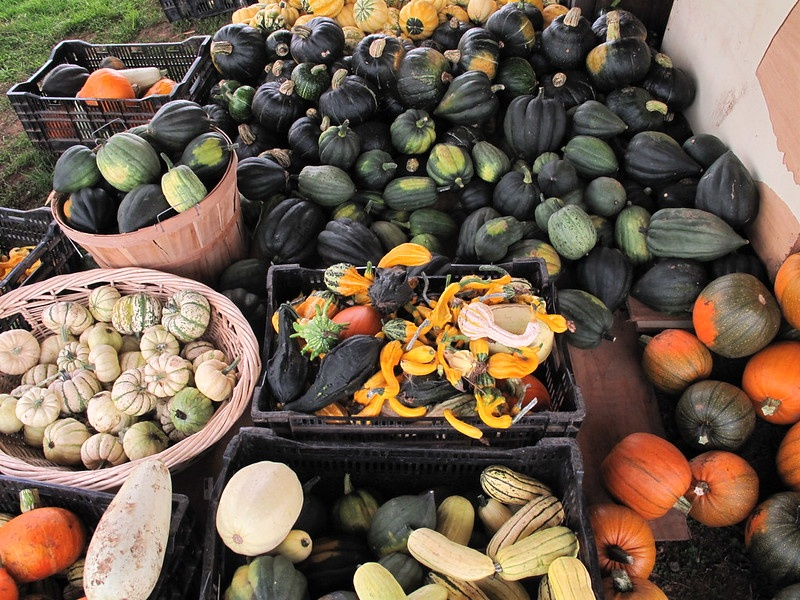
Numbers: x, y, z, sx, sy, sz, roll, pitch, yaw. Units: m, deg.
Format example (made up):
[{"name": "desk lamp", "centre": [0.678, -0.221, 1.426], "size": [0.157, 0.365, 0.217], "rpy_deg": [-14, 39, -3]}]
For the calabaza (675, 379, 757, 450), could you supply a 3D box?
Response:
[{"name": "calabaza", "centre": [1.962, 0.711, 3.914], "size": [0.321, 0.267, 0.460], "rpy_deg": [12, 29, 24]}]

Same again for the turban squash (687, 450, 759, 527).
[{"name": "turban squash", "centre": [1.914, 1.129, 3.762], "size": [0.315, 0.331, 0.319], "rpy_deg": [-8, 33, -39]}]

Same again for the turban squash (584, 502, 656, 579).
[{"name": "turban squash", "centre": [1.223, 1.312, 3.542], "size": [0.385, 0.391, 0.388], "rpy_deg": [-27, 74, 5]}]

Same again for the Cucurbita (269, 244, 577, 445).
[{"name": "Cucurbita", "centre": [0.106, 0.342, 3.632], "size": [1.765, 0.599, 0.976], "rpy_deg": [-1, 53, 6]}]

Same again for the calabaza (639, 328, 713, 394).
[{"name": "calabaza", "centre": [1.792, 0.402, 4.085], "size": [0.299, 0.307, 0.461], "rpy_deg": [-4, 26, -11]}]

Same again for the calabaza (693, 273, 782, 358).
[{"name": "calabaza", "centre": [2.128, 0.134, 4.048], "size": [0.480, 0.468, 0.424], "rpy_deg": [27, 61, 25]}]
